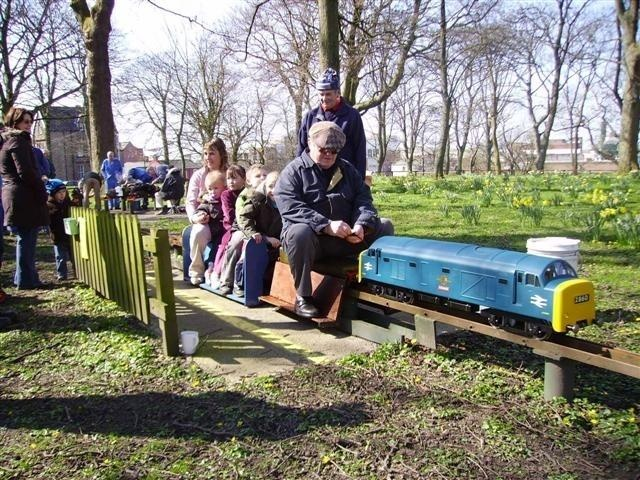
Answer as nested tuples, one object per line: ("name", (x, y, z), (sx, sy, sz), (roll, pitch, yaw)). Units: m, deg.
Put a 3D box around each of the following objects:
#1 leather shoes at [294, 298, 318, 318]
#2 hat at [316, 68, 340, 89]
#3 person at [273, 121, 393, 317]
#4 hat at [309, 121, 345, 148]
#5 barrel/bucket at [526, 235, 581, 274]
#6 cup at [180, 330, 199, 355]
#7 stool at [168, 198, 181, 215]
("leather shoes", (-0.141, 0.702, 5.017), (0.246, 0.193, 0.200), (-3, 14, 0))
("hat", (0.112, -2.009, 6.116), (0.294, 0.274, 0.380), (1, 8, -5))
("person", (0.107, -0.244, 5.147), (1.092, 1.974, 0.836), (-6, 14, -12))
("hat", (0.051, -1.080, 5.057), (0.386, 0.284, 0.255), (-1, 14, 8))
("barrel/bucket", (2.361, 0.135, 4.831), (0.467, 0.416, 0.436), (-1, 0, 0))
("cup", (-1.280, 0.991, 4.739), (0.184, 0.196, 0.268), (-7, 14, -18))
("stool", (-4.765, -1.086, 15.984), (0.510, 0.521, 0.496), (3, 11, 23))
